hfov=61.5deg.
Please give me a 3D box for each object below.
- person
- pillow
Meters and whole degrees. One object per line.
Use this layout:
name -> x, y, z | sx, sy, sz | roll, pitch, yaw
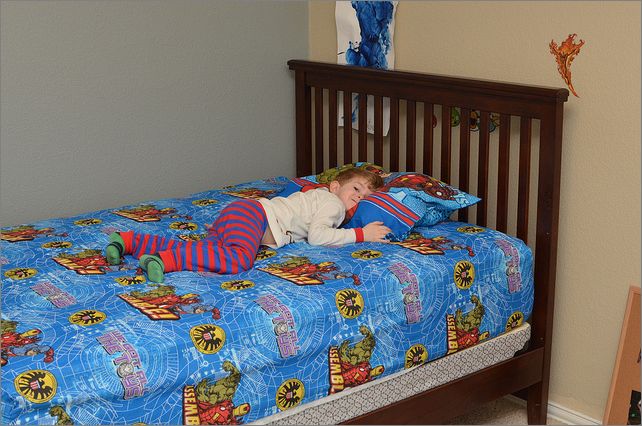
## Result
person -> -0.252, 0.043, 2.104 | 0.935, 0.262, 0.446 | -6, 17, -24
pillow -> 0.346, -0.105, 2.224 | 0.379, 0.113, 0.349 | -25, 29, -36
